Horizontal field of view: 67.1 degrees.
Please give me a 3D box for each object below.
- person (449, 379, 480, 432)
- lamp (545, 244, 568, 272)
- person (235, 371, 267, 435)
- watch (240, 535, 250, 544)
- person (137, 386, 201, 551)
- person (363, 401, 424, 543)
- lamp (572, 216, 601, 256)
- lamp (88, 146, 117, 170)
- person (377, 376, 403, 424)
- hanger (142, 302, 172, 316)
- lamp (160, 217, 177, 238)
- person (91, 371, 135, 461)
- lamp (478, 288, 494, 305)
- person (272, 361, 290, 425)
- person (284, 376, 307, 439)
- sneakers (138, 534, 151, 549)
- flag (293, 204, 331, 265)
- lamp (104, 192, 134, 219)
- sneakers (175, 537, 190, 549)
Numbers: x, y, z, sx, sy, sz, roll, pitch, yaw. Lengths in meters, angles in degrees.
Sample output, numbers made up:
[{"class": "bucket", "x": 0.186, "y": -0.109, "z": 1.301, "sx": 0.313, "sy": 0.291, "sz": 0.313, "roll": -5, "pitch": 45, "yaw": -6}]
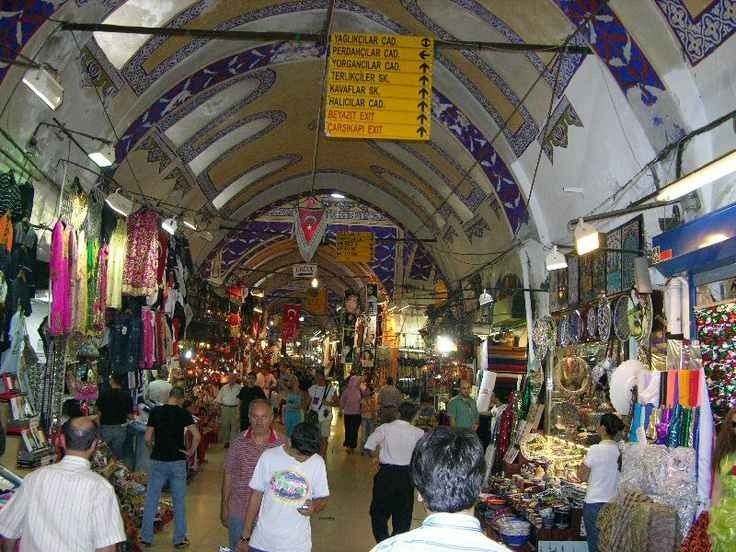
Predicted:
[{"class": "person", "x": 1.471, "y": 2.026, "z": 8.704, "sx": 0.436, "sy": 0.768, "sz": 1.208, "roll": -2, "pitch": -14, "yaw": 11}, {"class": "lamp", "x": 2.378, "y": -0.221, "z": 6.978, "sx": 0.332, "sy": 0.416, "sz": 0.222, "roll": 1, "pitch": 8, "yaw": 22}, {"class": "person", "x": -2.036, "y": 2.322, "z": 9.514, "sx": 0.497, "sy": 1.353, "sz": 0.313, "roll": 7, "pitch": 15, "yaw": 0}, {"class": "watch", "x": -0.825, "y": 1.762, "z": 3.703, "sx": 0.058, "sy": 0.044, "sz": 0.082, "roll": 3, "pitch": -14, "yaw": -1}, {"class": "person", "x": -2.015, "y": 1.925, "z": 5.665, "sx": 0.512, "sy": 1.575, "sz": 0.556, "roll": 4, "pitch": -13, "yaw": -17}, {"class": "person", "x": 0.248, "y": 1.952, "z": 5.540, "sx": 0.555, "sy": 1.487, "sz": 0.397, "roll": 4, "pitch": 8, "yaw": -14}, {"class": "lamp", "x": 2.194, "y": -0.426, "z": 5.581, "sx": 0.170, "sy": 0.341, "sz": 0.262, "roll": 4, "pitch": -13, "yaw": -14}, {"class": "lamp", "x": -2.916, "y": -1.355, "z": 6.100, "sx": 0.227, "sy": 0.218, "sz": 0.269, "roll": -7, "pitch": -16, "yaw": 31}, {"class": "person", "x": 0.409, "y": 2.574, "z": 11.013, "sx": 0.500, "sy": 1.330, "sz": 0.417, "roll": 3, "pitch": 22, "yaw": 1}, {"class": "hanger", "x": -3.488, "y": 0.568, "z": 9.442, "sx": 0.096, "sy": 0.167, "sz": 0.433, "roll": -3, "pitch": -8, "yaw": 19}, {"class": "lamp", "x": -3.284, "y": -0.811, "z": 9.083, "sx": 0.205, "sy": 0.186, "sz": 0.349, "roll": 30, "pitch": -6, "yaw": -1}, {"class": "person", "x": -3.256, "y": 1.875, "z": 7.106, "sx": 0.409, "sy": 1.349, "sz": 0.373, "roll": 7, "pitch": 12, "yaw": -20}, {"class": "lamp", "x": 2.177, "y": 0.424, "z": 10.318, "sx": 0.249, "sy": 0.449, "sz": 0.098, "roll": -1, "pitch": 6, "yaw": 17}, {"class": "person", "x": -2.439, "y": 3.557, "z": 15.302, "sx": 0.308, "sy": 1.124, "sz": 0.305, "roll": 13, "pitch": 16, "yaw": 4}, {"class": "person", "x": -1.242, "y": 2.270, "z": 9.109, "sx": 0.344, "sy": 1.255, "sz": 0.360, "roll": 4, "pitch": 11, "yaw": -2}, {"class": "sneakers", "x": -2.239, "y": 2.663, "z": 5.550, "sx": 0.077, "sy": 0.076, "sz": 0.169, "roll": 3, "pitch": -2, "yaw": -8}, {"class": "flag", "x": -1.145, "y": -0.814, "z": 10.576, "sx": 0.605, "sy": 1.143, "sz": 0.222, "roll": 4, "pitch": -24, "yaw": -2}, {"class": "lamp", "x": -3.232, "y": -0.907, "z": 7.207, "sx": 0.334, "sy": 0.264, "sz": 0.370, "roll": 1, "pitch": -29, "yaw": 47}, {"class": "sneakers", "x": -1.861, "y": 2.663, "z": 5.545, "sx": 0.052, "sy": 0.069, "sz": 0.153, "roll": 3, "pitch": -6, "yaw": 12}]
